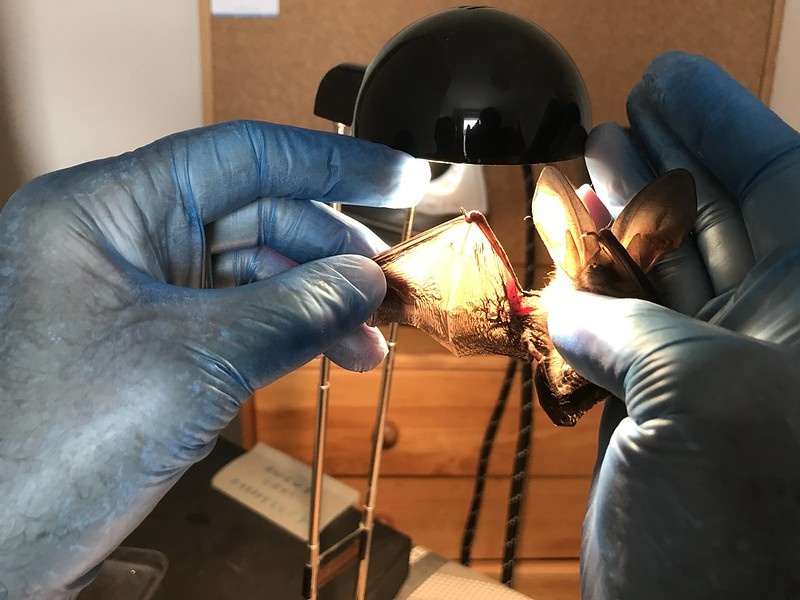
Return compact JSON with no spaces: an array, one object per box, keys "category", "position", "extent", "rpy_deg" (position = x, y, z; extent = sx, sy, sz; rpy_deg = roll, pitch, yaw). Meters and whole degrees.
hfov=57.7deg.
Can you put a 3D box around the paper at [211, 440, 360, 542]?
[{"category":"paper","position":[-0.286,0.455,1.763],"extent":[0.320,0.050,0.244],"rpy_deg":[18,15,26]}]

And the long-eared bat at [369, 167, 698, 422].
[{"category":"long-eared bat","position":[0.221,-0.021,1.413],"extent":[0.424,0.356,0.646],"rpy_deg":[-22,-9,39]}]

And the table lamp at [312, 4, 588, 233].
[{"category":"table lamp","position":[0.070,-0.299,1.102],"extent":[0.312,0.259,0.245],"rpy_deg":[17,27,27]}]
